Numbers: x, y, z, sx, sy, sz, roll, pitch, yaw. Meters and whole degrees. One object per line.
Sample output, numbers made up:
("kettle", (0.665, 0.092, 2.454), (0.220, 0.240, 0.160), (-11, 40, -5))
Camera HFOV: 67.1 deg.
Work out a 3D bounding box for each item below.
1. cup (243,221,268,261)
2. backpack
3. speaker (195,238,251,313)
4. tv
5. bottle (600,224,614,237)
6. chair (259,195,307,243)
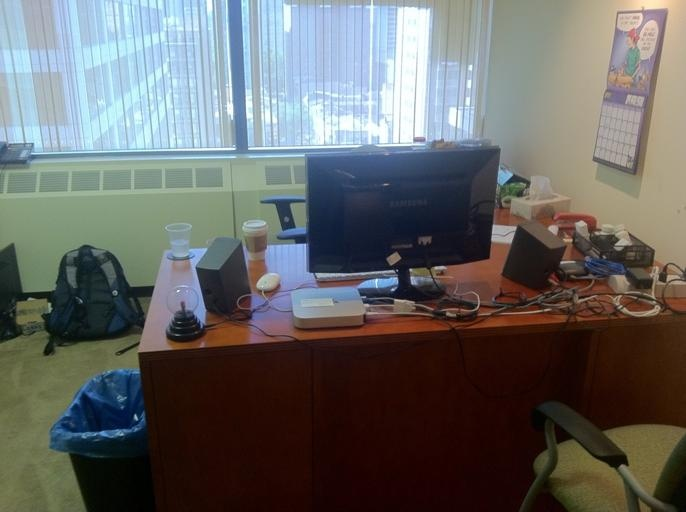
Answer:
("cup", (-0.432, -0.091, 2.678), (0.163, 0.203, 0.171), (-1, 20, 0))
("backpack", (-1.813, 0.325, 3.679), (0.624, 0.719, 0.308), (-5, 3, -14))
("speaker", (-0.505, 0.078, 2.195), (0.187, 0.281, 0.228), (-1, 16, -2))
("tv", (0.252, -0.139, 2.263), (0.596, 0.502, 0.250), (-2, 28, -4))
("bottle", (1.340, -0.132, 2.616), (0.055, 0.036, 0.057), (-2, 17, 0))
("chair", (-0.434, -0.266, 3.615), (0.305, 0.372, 0.268), (-7, 17, -20))
